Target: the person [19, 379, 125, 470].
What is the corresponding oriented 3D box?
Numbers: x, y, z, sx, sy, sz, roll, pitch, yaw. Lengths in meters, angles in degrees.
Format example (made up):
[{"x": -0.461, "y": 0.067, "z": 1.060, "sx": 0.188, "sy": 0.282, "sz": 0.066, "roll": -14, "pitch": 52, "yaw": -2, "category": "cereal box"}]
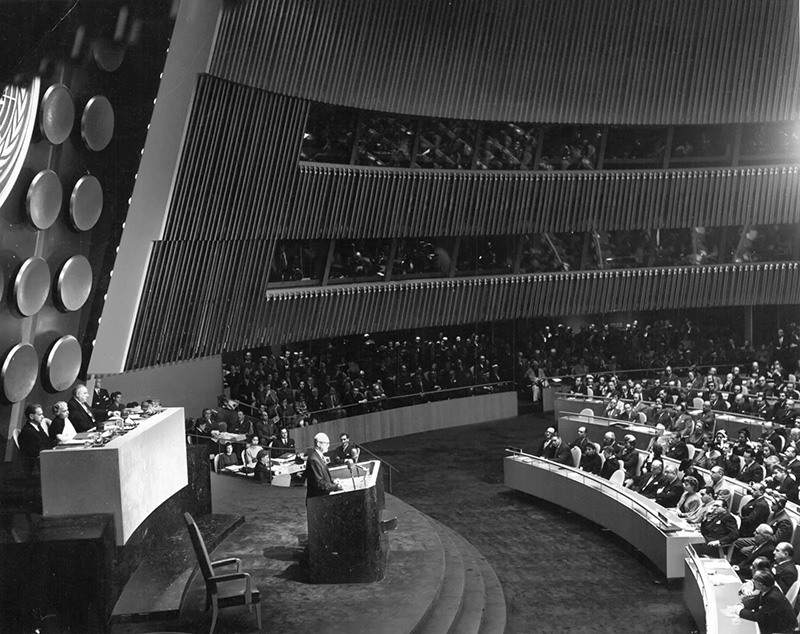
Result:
[{"x": -4.007, "y": 1.311, "z": 11.383, "sx": 1.331, "sy": 0.482, "sz": 0.477, "roll": -9, "pitch": 17, "yaw": -43, "category": "person"}]
